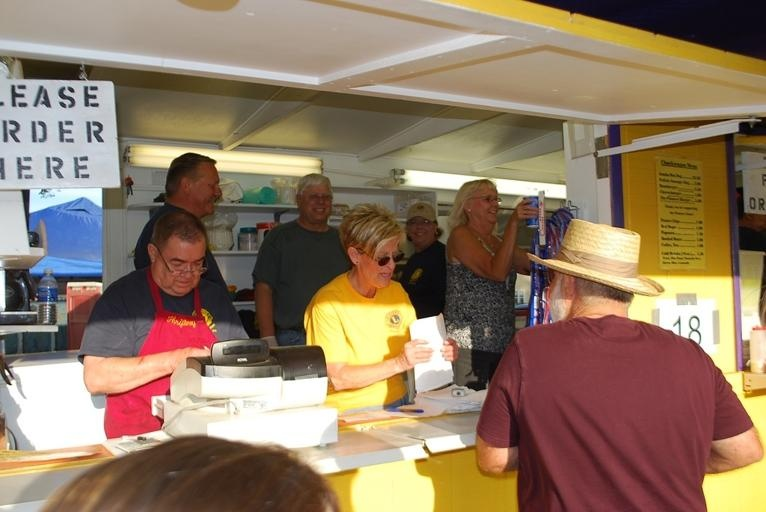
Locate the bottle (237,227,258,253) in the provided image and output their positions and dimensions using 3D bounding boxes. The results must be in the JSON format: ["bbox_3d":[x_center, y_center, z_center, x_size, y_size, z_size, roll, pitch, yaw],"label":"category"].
[{"bbox_3d":[-1.399,-0.193,6.278,0.256,0.245,0.241,0,0,-4],"label":"bottle"}]

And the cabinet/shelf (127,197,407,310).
[{"bbox_3d":[-0.768,0.169,4.543,2.403,1.012,0.355,3,-12,7],"label":"cabinet/shelf"}]

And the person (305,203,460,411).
[{"bbox_3d":[-0.025,0.258,3.097,0.630,1.064,0.502,-4,4,-32],"label":"person"}]

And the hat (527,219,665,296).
[{"bbox_3d":[0.815,0.005,2.322,0.392,0.141,0.340,22,0,11],"label":"hat"}]

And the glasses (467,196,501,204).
[{"bbox_3d":[0.685,-0.391,4.123,0.099,0.024,0.095,-6,-7,43],"label":"glasses"}]

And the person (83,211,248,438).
[{"bbox_3d":[-1.089,0.321,2.974,0.746,1.097,0.467,-3,3,-16],"label":"person"}]
